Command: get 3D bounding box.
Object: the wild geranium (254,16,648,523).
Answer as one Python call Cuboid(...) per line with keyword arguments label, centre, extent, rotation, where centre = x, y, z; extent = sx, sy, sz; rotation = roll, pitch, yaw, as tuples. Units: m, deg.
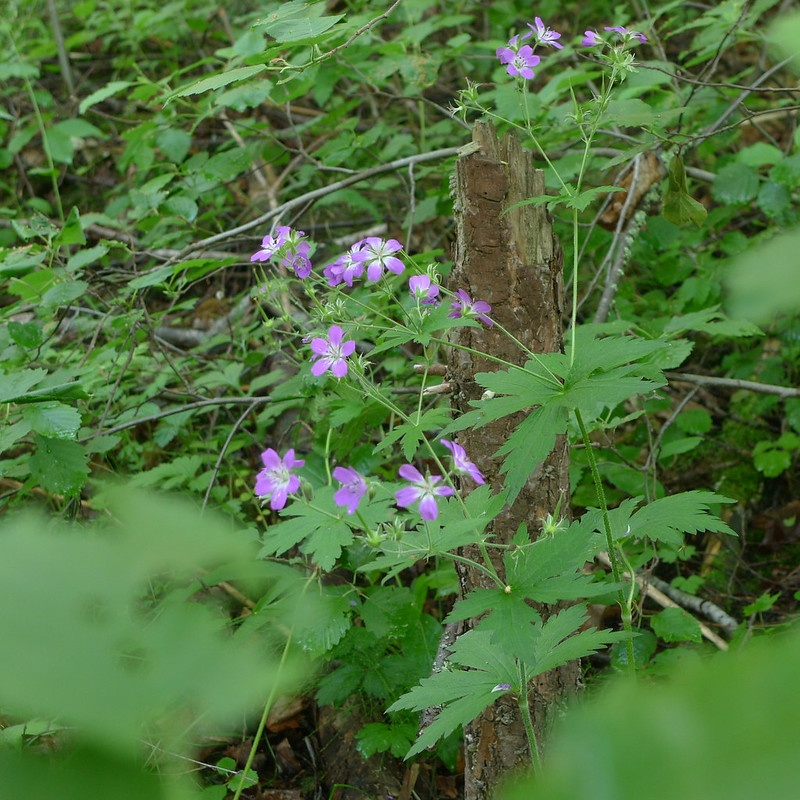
Cuboid(label="wild geranium", centre=(0.200, -0.366, 2.382), extent=(0.788, 1.543, 0.810), rotation=(2, 11, 15))
